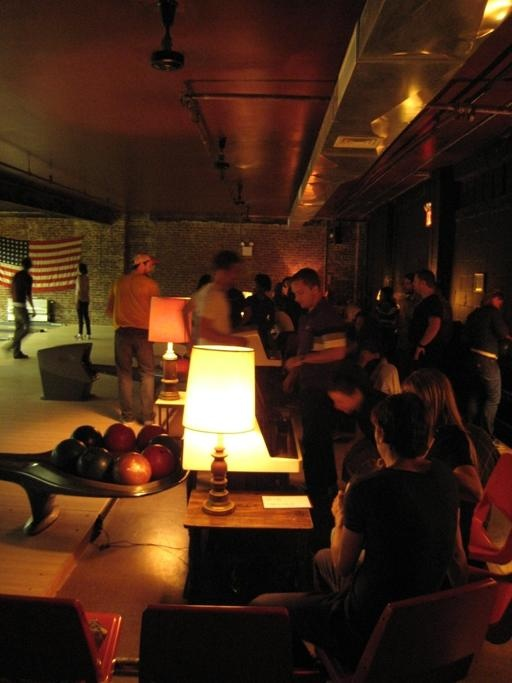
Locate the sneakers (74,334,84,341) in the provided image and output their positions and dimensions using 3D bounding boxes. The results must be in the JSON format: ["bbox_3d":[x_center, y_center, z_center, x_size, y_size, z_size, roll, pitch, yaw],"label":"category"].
[{"bbox_3d":[-3.587,-0.078,11.225,0.191,0.065,0.077,24,44,36],"label":"sneakers"}]

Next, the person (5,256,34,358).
[{"bbox_3d":[-3.608,-0.510,8.533,0.397,1.559,1.123,9,5,-22],"label":"person"}]

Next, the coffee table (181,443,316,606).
[{"bbox_3d":[-0.006,0.823,2.442,0.588,0.497,0.550,0,26,0],"label":"coffee table"}]

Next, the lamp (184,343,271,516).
[{"bbox_3d":[-0.137,0.339,2.207,0.288,0.490,0.375,12,5,11],"label":"lamp"}]
